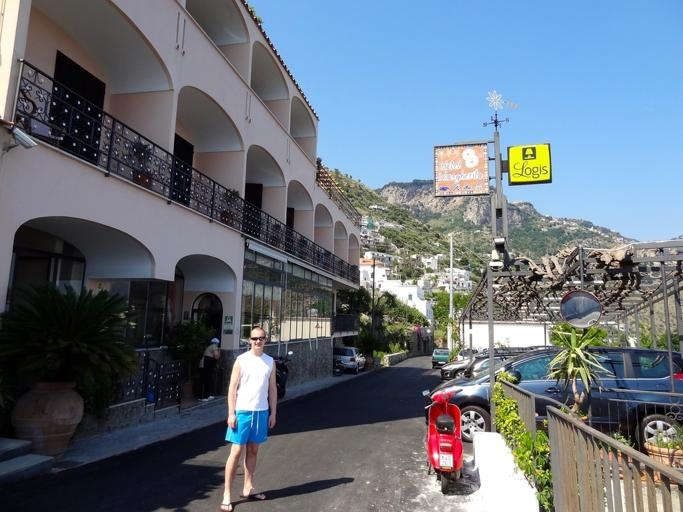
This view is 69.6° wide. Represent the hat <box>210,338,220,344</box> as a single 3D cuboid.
[{"bbox_3d":[-3.982,2.660,15.411,0.257,0.128,0.391,2,-5,-3],"label":"hat"}]

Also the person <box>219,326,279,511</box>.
[{"bbox_3d":[-1.459,2.483,7.695,0.834,2.663,0.850,0,-9,-11],"label":"person"}]

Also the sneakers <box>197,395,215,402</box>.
[{"bbox_3d":[-4.142,4.380,15.092,0.444,0.205,0.165,-4,-10,12],"label":"sneakers"}]

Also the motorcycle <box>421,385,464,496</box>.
[{"bbox_3d":[1.774,3.184,8.559,0.589,1.618,0.991,-3,-9,10],"label":"motorcycle"}]

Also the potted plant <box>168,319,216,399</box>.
[{"bbox_3d":[-4.618,3.163,14.917,1.071,2.355,1.372,-3,-9,10],"label":"potted plant"}]

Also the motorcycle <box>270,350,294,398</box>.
[{"bbox_3d":[-2.453,4.580,18.489,0.971,1.764,2.587,-3,-17,-12],"label":"motorcycle"}]
